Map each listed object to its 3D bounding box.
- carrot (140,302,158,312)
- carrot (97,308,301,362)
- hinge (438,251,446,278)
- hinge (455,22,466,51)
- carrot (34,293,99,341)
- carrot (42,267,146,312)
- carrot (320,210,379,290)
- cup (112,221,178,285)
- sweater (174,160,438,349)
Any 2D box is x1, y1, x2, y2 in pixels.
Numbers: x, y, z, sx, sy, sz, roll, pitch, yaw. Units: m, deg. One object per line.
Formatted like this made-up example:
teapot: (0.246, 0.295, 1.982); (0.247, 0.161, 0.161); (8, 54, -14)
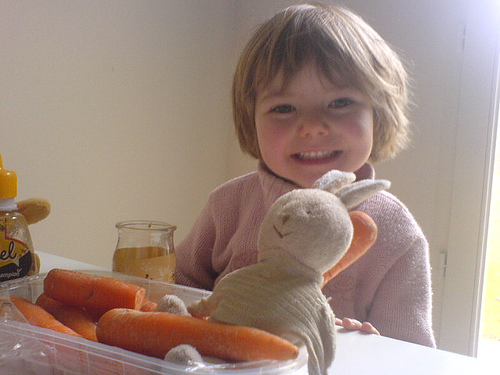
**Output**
carrot: (-0.191, 0.218, 0.917); (0.016, 0.010, 0.017); (-12, 3, -1)
carrot: (-0.102, 0.254, 0.811); (0.346, 0.086, 0.083); (1, -31, 16)
hinge: (0.688, 0.267, 1.738); (0.025, 0.091, 0.023); (3, -9, 22)
hinge: (0.730, -0.522, 1.681); (0.033, 0.096, 0.021); (1, -10, 32)
carrot: (-0.327, 0.231, 0.880); (0.100, 0.033, 0.030); (25, 24, 35)
carrot: (-0.299, 0.197, 0.934); (0.178, 0.061, 0.054); (7, 16, 6)
carrot: (0.189, 0.116, 0.893); (0.034, 0.143, 0.084); (36, 6, -19)
cup: (-0.221, 0.139, 1.131); (0.158, 0.173, 0.117); (3, 0, 15)
sweater: (0.082, 0.161, 1.308); (0.745, 0.447, 0.261); (3, -10, 23)
